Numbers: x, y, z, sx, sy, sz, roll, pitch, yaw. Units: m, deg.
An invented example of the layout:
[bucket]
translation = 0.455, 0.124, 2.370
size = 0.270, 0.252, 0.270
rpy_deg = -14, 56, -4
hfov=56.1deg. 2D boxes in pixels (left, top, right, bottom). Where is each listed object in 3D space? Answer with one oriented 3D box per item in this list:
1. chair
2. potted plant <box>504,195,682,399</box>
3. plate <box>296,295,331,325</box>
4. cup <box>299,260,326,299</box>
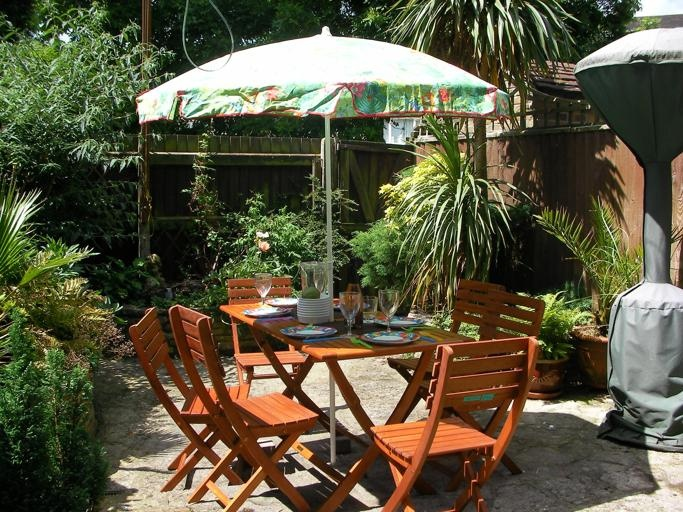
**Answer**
[chair]
translation = 0.009, 0.964, 4.104
size = 2.393, 1.366, 1.038
rpy_deg = 0, 7, 18
[potted plant]
translation = 2.934, 0.222, 6.617
size = 2.138, 2.370, 1.449
rpy_deg = 1, 1, -20
[plate]
translation = -0.189, 0.366, 4.439
size = 0.190, 0.126, 0.190
rpy_deg = 0, -1, -29
[cup]
translation = -0.208, 0.179, 4.502
size = 0.273, 0.340, 0.202
rpy_deg = 0, -2, -13
